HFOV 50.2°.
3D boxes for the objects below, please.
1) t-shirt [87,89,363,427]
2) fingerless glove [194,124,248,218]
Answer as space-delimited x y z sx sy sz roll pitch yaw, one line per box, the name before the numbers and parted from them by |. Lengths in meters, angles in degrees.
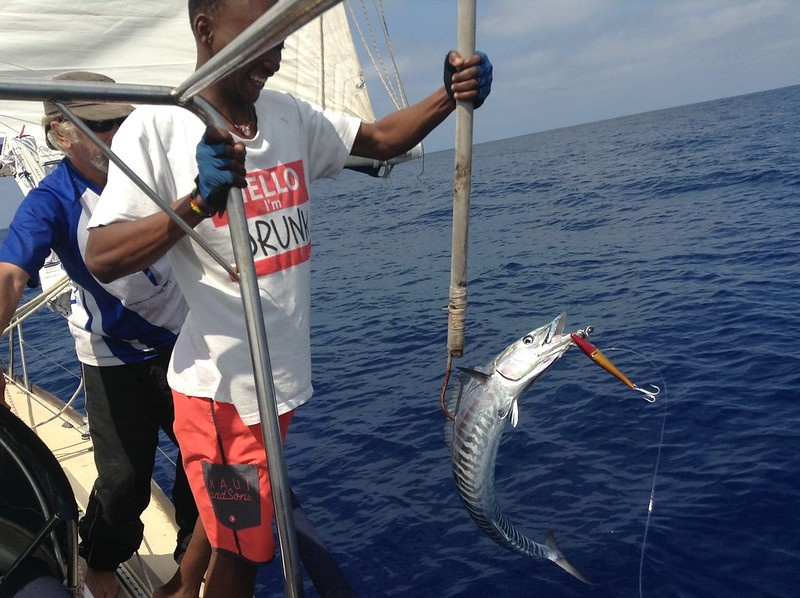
t-shirt | -0.972 -0.240 5.188 1.589 1.972 0.562 -16 14 -18
fingerless glove | -1.015 -0.695 4.717 0.194 0.411 0.309 9 13 -36
